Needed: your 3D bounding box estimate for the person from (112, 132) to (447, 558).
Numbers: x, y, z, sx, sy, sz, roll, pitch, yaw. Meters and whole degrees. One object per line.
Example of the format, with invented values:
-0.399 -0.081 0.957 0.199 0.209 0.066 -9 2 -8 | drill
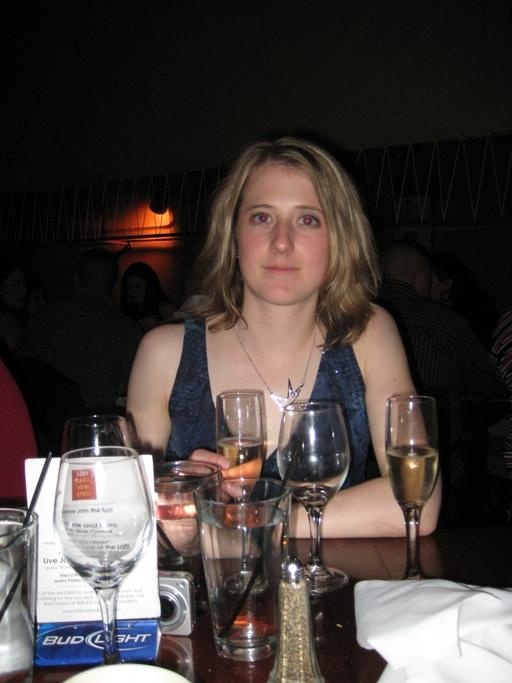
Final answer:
0.072 -0.137 2.063 0.728 0.978 1.127 0 6 0 | person
